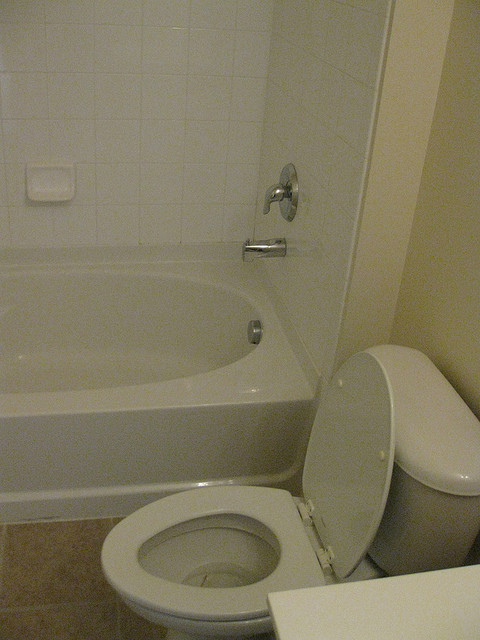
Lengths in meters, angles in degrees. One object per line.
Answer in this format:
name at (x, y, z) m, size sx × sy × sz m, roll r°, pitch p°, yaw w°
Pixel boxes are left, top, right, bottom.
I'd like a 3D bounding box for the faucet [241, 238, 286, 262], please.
faucet at (0.071, -0.209, 1.742) m, size 0.120 × 0.051 × 0.063 m, roll -2°, pitch 36°, yaw -12°
